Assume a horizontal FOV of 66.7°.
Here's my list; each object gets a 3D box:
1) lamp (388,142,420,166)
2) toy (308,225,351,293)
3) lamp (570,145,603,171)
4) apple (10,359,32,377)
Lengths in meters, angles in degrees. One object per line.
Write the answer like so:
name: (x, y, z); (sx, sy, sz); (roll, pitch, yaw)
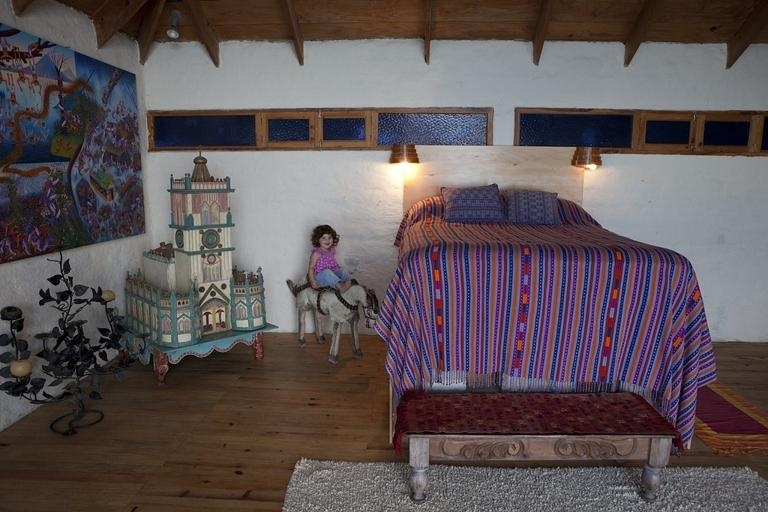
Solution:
lamp: (0.225, -1.111, 6.404); (0.334, 0.221, 0.208); (0, 9, 0)
toy: (-0.544, 0.009, 6.055); (0.462, 0.628, 0.371); (3, 10, 16)
lamp: (2.215, -1.066, 6.399); (0.286, 0.186, 0.264); (0, 5, -1)
apple: (-2.880, 0.900, 4.617); (0.153, 0.164, 0.107); (0, 10, -6)
